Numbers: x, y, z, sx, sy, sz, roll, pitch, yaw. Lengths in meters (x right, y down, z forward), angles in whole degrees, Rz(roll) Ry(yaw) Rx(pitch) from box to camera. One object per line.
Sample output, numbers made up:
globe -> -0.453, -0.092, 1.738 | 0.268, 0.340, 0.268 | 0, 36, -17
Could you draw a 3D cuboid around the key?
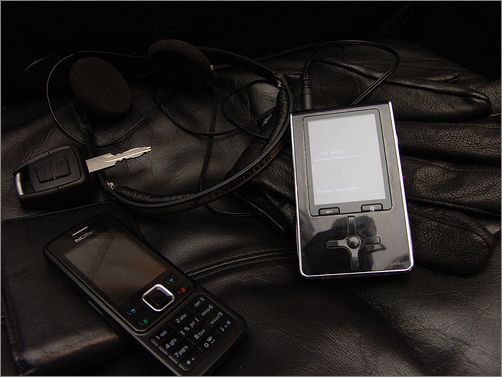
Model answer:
key -> -0.316, -0.022, 0.773 | 0.193, 0.035, 0.077 | -17, 67, -10
